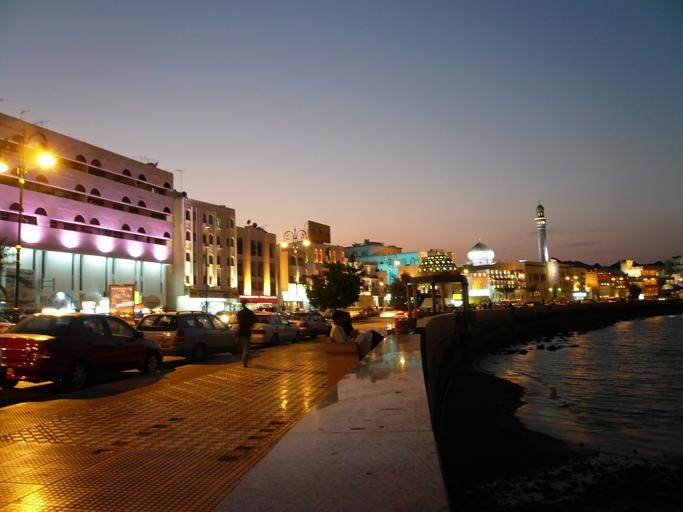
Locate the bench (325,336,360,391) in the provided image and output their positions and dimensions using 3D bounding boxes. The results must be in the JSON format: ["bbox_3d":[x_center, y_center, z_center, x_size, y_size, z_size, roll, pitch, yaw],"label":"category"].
[{"bbox_3d":[0.034,2.462,12.352,0.724,0.804,1.210,-3,-15,2],"label":"bench"}]

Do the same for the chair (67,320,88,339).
[{"bbox_3d":[-6.651,1.846,13.439,0.420,0.387,0.478,-27,-28,38],"label":"chair"}]

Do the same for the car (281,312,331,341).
[{"bbox_3d":[-2.012,4.174,32.768,1.406,0.835,2.882,-1,-1,19],"label":"car"}]

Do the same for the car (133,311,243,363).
[{"bbox_3d":[-5.600,2.826,19.944,2.066,1.187,4.128,-1,-2,21],"label":"car"}]
